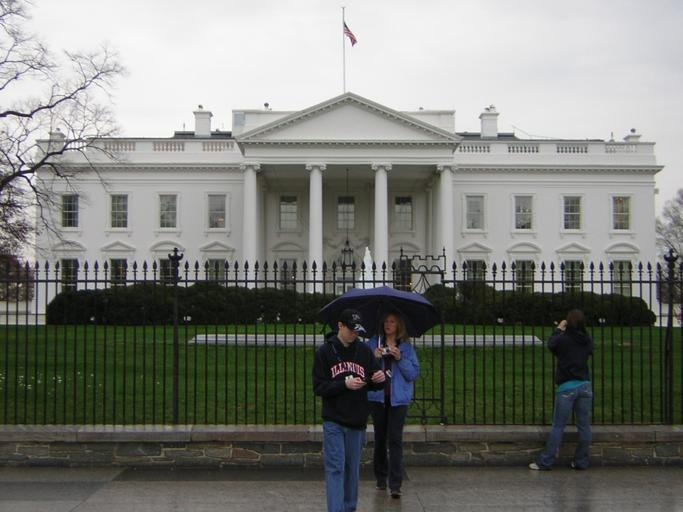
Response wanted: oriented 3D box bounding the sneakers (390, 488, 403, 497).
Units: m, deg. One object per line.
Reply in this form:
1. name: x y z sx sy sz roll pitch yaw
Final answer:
1. sneakers: 1.278 5.440 31.225 0.205 0.185 0.434 1 3 6

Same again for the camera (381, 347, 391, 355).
1. camera: 1.047 2.193 31.085 0.152 0.145 0.263 -2 -9 5

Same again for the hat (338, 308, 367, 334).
1. hat: 0.318 1.487 30.488 0.413 0.571 0.629 -5 -8 43

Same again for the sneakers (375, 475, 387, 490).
1. sneakers: 0.947 5.254 31.456 0.210 0.294 0.692 0 -12 -3

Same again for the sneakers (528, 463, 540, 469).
1. sneakers: 4.589 4.989 32.208 0.114 0.083 0.197 -3 -19 38
